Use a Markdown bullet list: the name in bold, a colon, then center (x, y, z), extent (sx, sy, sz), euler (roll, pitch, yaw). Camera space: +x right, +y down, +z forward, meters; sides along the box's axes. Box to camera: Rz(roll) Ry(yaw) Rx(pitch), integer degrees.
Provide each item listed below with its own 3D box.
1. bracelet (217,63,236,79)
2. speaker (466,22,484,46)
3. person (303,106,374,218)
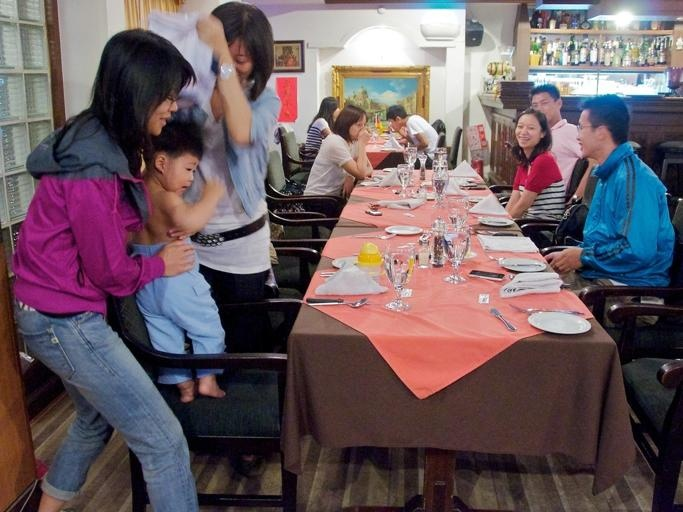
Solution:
- **bracelet**: center (-0.396, -0.636, 1.723), extent (0.045, 0.038, 0.050), euler (-6, 41, -9)
- **speaker**: center (2.350, -3.953, 8.912), extent (0.309, 0.461, 0.247), euler (8, 27, 7)
- **person**: center (-0.048, -0.712, 4.678), extent (0.556, 1.325, 0.423), euler (7, 24, 2)
